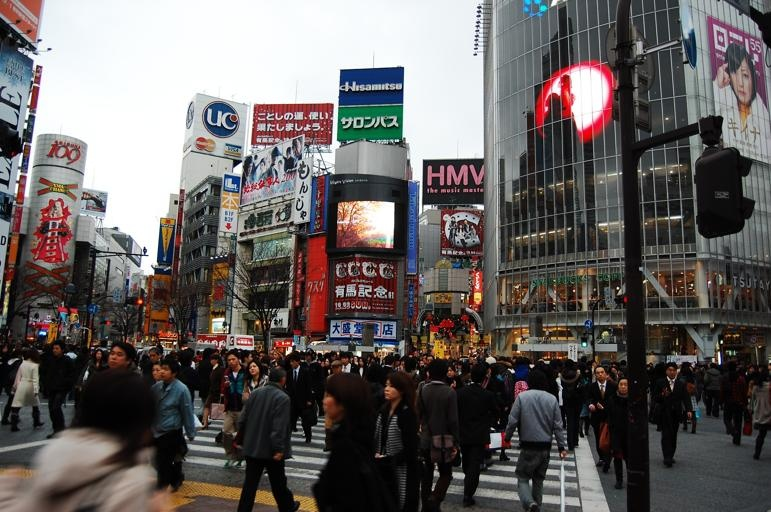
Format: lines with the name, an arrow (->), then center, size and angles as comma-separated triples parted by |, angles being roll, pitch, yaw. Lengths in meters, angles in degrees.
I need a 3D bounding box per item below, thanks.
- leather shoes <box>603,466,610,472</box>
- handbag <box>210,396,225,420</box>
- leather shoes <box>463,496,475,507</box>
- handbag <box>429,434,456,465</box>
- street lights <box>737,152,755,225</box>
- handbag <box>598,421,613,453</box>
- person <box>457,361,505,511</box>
leather shoes -> 5.172, 4.982, 13.966 | 0.146, 0.143, 0.152 | -2, -4, 37
handbag -> -3.913, 3.535, 13.792 | 0.269, 0.706, 0.703 | 1, -3, -7
leather shoes -> 1.589, 4.625, 11.226 | 0.149, 0.181, 0.440 | -8, -15, 34
handbag -> 0.984, 3.329, 10.534 | 0.629, 0.677, 0.380 | 2, -15, -2
street lights -> 4.816, -0.908, 7.940 | 0.034, 0.855, 0.238 | -17, 18, -9
handbag -> 4.784, 3.954, 13.022 | 0.195, 0.597, 0.341 | -3, -13, 17
person -> 1.767, 3.416, 11.467 | 0.662, 2.649, 0.955 | -3, -13, 19
